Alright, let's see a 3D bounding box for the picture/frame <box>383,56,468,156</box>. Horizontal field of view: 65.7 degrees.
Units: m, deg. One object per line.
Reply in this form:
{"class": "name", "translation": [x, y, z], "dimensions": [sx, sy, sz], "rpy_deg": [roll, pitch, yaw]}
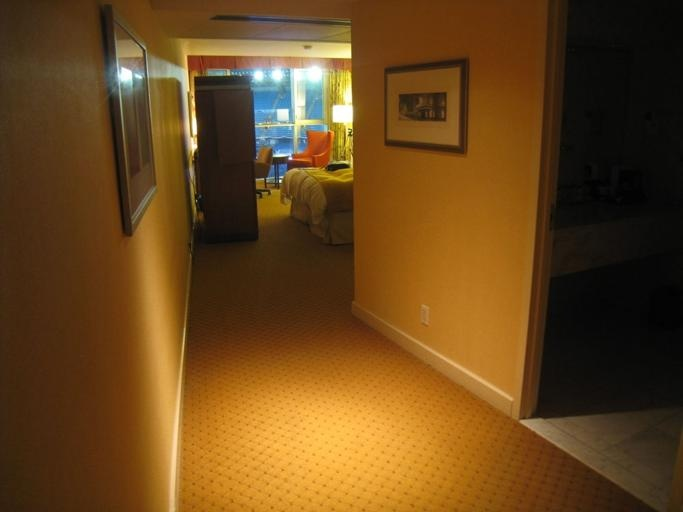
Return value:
{"class": "picture/frame", "translation": [0.552, -0.971, 3.372], "dimensions": [0.024, 0.548, 0.628], "rpy_deg": [-7, 13, -32]}

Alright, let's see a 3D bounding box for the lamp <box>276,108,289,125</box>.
{"class": "lamp", "translation": [-1.281, -3.048, 11.496], "dimensions": [0.256, 0.302, 0.273], "rpy_deg": [3, 7, 7]}

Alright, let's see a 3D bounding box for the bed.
{"class": "bed", "translation": [-0.305, -0.749, 7.274], "dimensions": [0.803, 0.748, 1.907], "rpy_deg": [-2, 18, -7]}

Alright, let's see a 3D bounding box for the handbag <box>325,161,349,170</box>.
{"class": "handbag", "translation": [-0.065, -1.514, 8.878], "dimensions": [0.314, 0.110, 0.248], "rpy_deg": [-4, 18, -15]}

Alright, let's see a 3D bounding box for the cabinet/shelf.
{"class": "cabinet/shelf", "translation": [-1.427, -1.145, 6.455], "dimensions": [0.604, 1.982, 1.877], "rpy_deg": [-2, 18, -9]}
